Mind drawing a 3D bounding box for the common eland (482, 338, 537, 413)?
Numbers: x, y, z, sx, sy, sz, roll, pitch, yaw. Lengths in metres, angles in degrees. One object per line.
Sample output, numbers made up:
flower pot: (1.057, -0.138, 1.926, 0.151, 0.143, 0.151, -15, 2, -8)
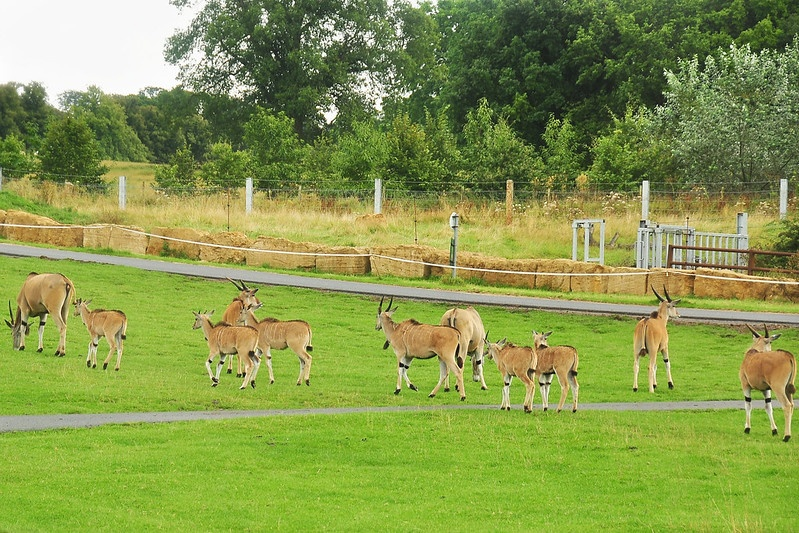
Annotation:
common eland: (5.749, 5.358, 76.576, 2.377, 3.601, 1.318, -2, -5, 42)
